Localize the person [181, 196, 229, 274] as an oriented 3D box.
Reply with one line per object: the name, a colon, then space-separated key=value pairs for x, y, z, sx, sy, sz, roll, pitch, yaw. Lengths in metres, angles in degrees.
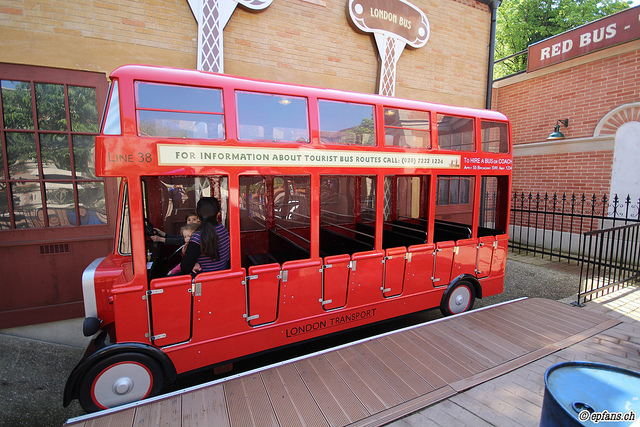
person: x=-2.019 y=0.544 z=7.390 sx=0.842 sy=1.777 sz=0.998 roll=-2 pitch=21 yaw=-19

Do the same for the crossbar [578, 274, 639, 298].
crossbar: x=6.748 y=1.704 z=9.519 sx=2.651 sy=0.239 sz=0.261 roll=-7 pitch=9 yaw=-28

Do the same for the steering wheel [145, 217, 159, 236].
steering wheel: x=-3.262 y=0.238 z=7.925 sx=0.213 sy=0.377 sz=0.444 roll=-6 pitch=9 yaw=-22

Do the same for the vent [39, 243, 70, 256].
vent: x=-5.661 y=0.749 z=8.689 sx=0.553 sy=0.240 sz=0.045 roll=-5 pitch=9 yaw=-14

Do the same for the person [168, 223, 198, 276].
person: x=-2.458 y=0.600 z=7.318 sx=0.604 sy=0.791 sz=0.309 roll=8 pitch=1 yaw=43
